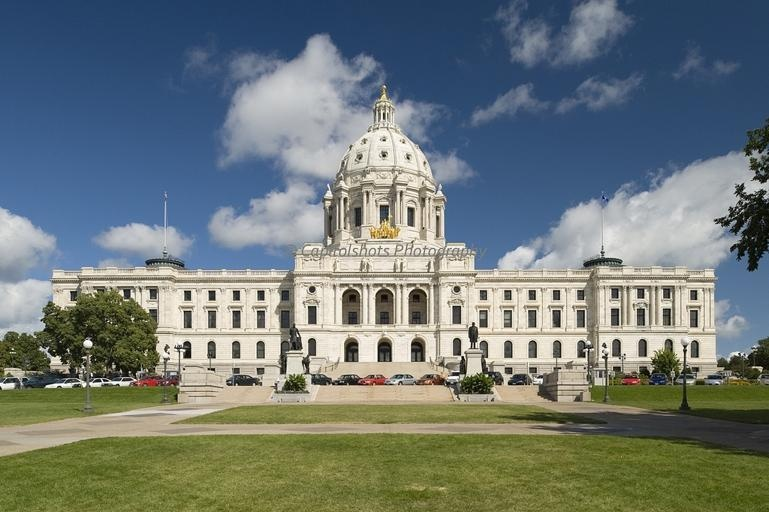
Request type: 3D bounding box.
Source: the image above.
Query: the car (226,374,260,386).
[{"bbox_3d":[-13.946,12.441,87.000,3.023,0.879,1.532,-2,-6,-1],"label":"car"}]

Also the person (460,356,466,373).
[{"bbox_3d":[6.886,9.443,75.813,0.442,1.520,0.938,-2,-11,5],"label":"person"}]
